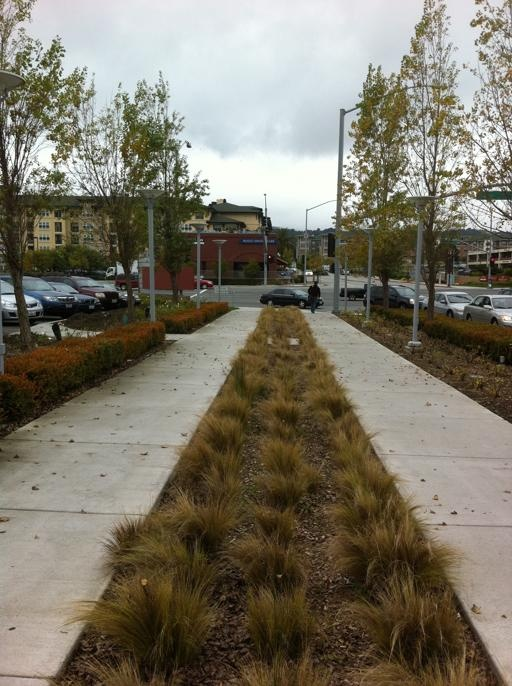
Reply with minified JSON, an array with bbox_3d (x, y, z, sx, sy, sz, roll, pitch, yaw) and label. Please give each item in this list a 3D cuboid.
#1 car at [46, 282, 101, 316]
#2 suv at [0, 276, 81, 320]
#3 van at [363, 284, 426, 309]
[{"bbox_3d":[-7.803,-1.784,23.864,2.873,1.031,1.272,9,14,35],"label":"car"},{"bbox_3d":[-8.335,-1.763,21.952,3.070,1.124,1.371,7,11,32],"label":"suv"},{"bbox_3d":[7.877,-3.012,32.160,3.116,1.699,2.058,-2,2,39],"label":"van"}]
